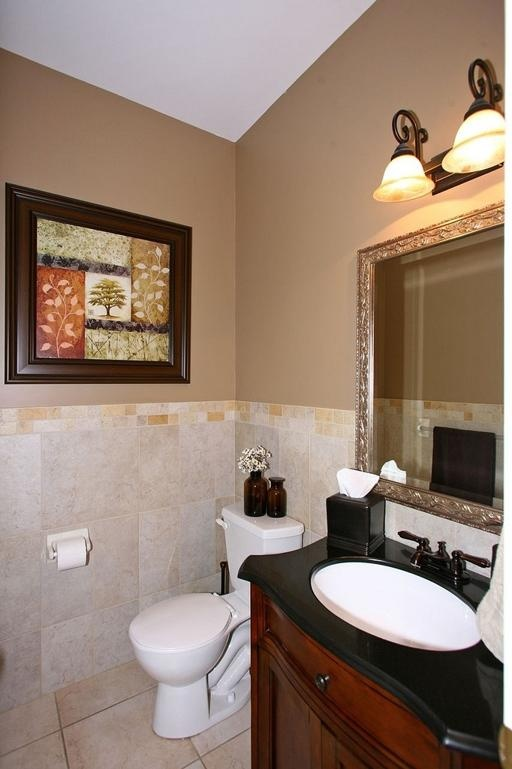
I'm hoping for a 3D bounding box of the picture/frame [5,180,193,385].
[{"bbox_3d":[-0.657,-0.412,2.129,0.057,0.818,0.750,-1,-3,43],"label":"picture/frame"}]

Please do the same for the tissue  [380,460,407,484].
[{"bbox_3d":[0.404,0.254,1.566,0.008,0.060,0.108,0,3,-29],"label":"tissue "}]

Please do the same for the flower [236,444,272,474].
[{"bbox_3d":[-0.002,0.308,2.153,0.111,0.138,0.060,7,18,13],"label":"flower"}]

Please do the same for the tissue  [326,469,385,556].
[{"bbox_3d":[0.291,0.374,1.525,0.146,0.261,0.128,6,9,36],"label":"tissue "}]

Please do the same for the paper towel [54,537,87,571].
[{"bbox_3d":[-0.695,0.654,2.001,0.123,0.135,0.132,0,3,-27],"label":"paper towel"}]

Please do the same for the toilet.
[{"bbox_3d":[-0.171,0.861,1.946,0.566,0.735,0.375,-2,7,-31],"label":"toilet"}]
